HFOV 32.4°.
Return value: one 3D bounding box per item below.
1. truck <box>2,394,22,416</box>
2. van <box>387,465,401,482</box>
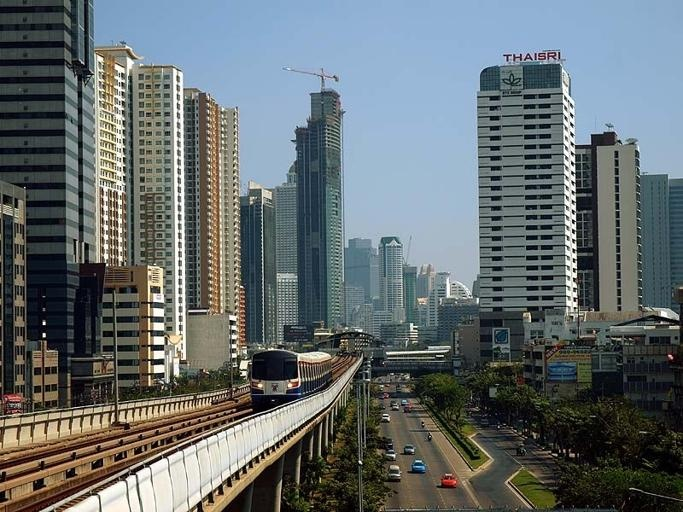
[{"bbox_3d":[-48.489,21.369,172.672,2.749,2.567,28.301,0,-7,-16],"label":"truck"},{"bbox_3d":[7.304,30.263,164.759,2.274,2.106,5.061,-1,-6,0],"label":"van"}]
